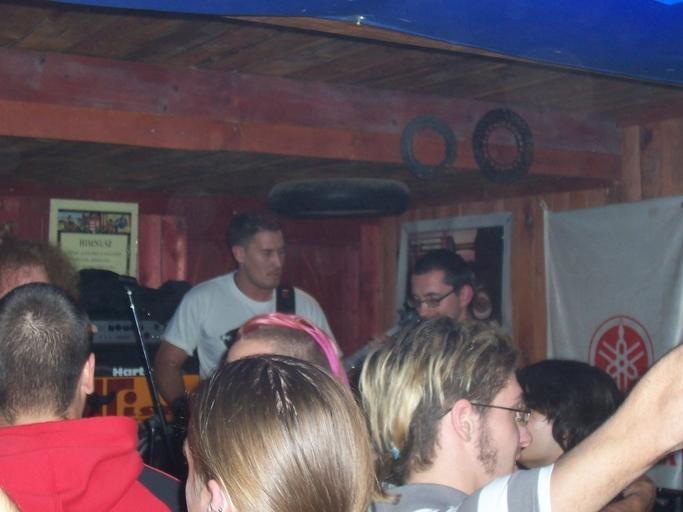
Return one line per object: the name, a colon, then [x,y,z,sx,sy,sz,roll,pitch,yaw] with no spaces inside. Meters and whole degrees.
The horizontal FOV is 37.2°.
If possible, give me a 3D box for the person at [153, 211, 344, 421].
person: [-0.431,0.414,4.791,0.868,1.146,0.605,0,8,-28]
